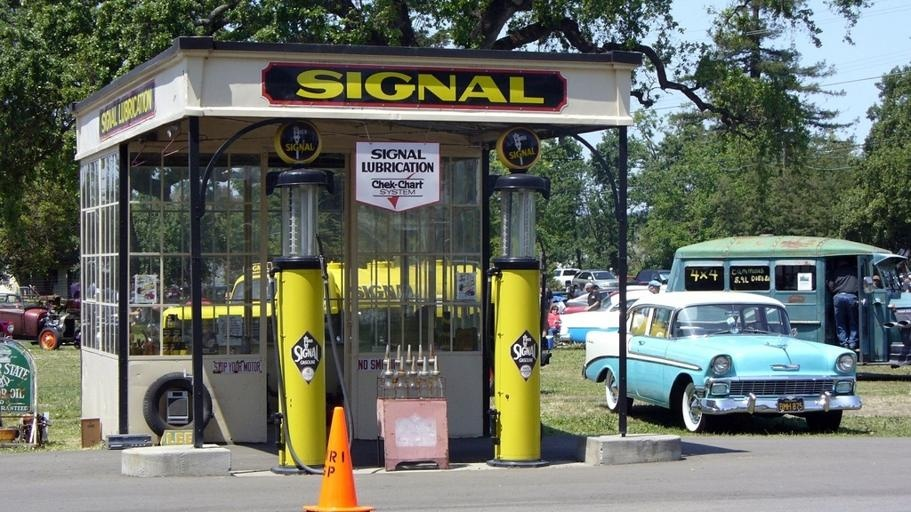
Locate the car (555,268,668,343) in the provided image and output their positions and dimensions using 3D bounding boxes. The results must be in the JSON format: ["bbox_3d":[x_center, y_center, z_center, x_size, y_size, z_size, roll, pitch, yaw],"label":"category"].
[{"bbox_3d":[5.616,2.100,50.209,3.775,1.041,2.322,-7,3,2],"label":"car"}]
